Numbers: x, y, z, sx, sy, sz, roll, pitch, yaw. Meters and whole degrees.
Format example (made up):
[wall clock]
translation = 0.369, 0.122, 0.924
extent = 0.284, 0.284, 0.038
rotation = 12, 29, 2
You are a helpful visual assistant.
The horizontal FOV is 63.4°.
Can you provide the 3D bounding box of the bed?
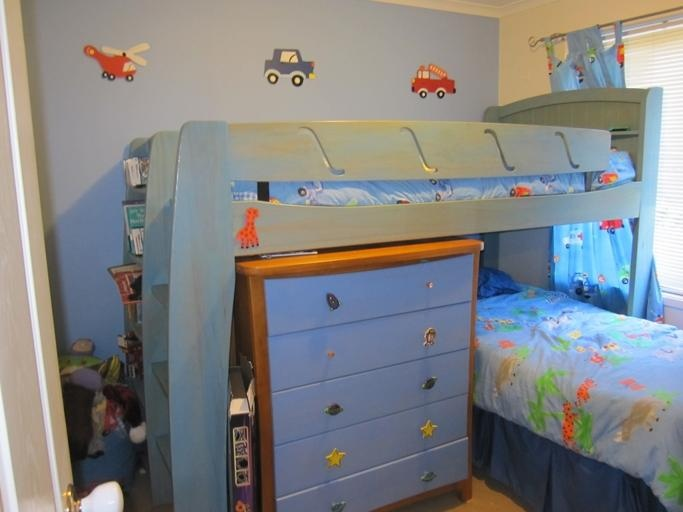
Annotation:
[bed]
translation = 0.333, 0.245, 2.738
extent = 2.003, 1.540, 0.680
rotation = -6, 11, -28
